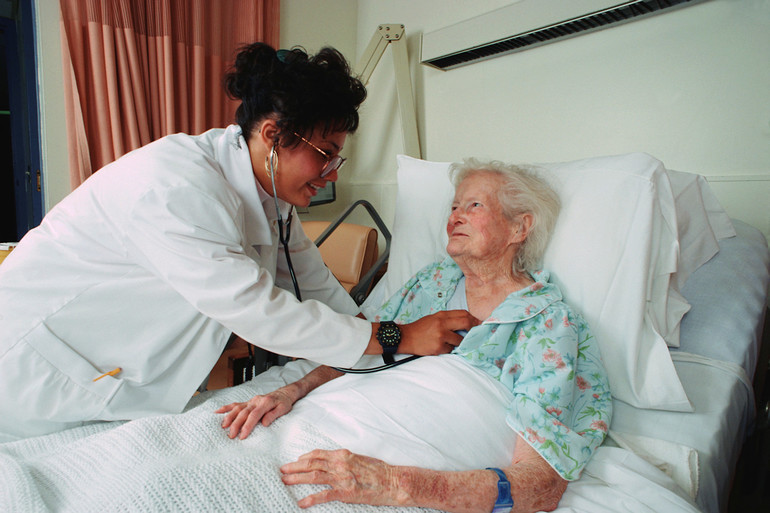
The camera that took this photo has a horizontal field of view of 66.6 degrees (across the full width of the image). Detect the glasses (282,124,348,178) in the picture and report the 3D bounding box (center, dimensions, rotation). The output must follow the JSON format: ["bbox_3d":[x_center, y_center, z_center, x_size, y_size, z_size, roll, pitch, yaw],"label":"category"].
[{"bbox_3d":[-0.226,-0.359,2.019,0.148,0.047,0.116,38,6,19],"label":"glasses"}]
